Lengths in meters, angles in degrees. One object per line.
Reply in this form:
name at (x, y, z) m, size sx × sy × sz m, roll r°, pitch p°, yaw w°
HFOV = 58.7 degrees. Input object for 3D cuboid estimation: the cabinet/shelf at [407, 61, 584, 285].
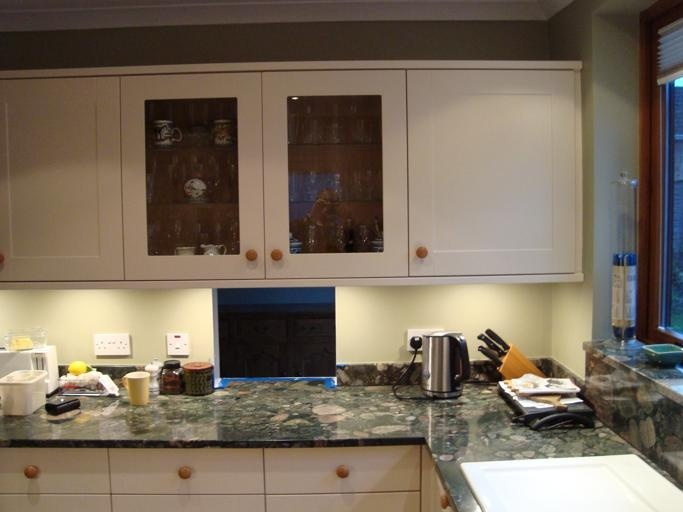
cabinet/shelf at (0.654, -0.406, 2.701) m, size 0.920 × 1.163 × 0.441 m, roll 0°, pitch -1°, yaw 0°

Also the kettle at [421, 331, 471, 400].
kettle at (0.476, 0.510, 2.798) m, size 0.205 × 0.300 × 0.116 m, roll 0°, pitch 15°, yaw 8°

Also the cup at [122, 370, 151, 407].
cup at (-0.929, 0.608, 2.810) m, size 0.116 × 0.133 × 0.140 m, roll -1°, pitch -6°, yaw -3°

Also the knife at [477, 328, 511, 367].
knife at (0.712, 0.432, 2.867) m, size 0.173 × 0.161 × 0.050 m, roll -54°, pitch 7°, yaw -26°

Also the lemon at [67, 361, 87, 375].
lemon at (-1.301, 0.542, 2.986) m, size 0.055 × 0.062 × 0.075 m, roll 7°, pitch 2°, yaw 37°

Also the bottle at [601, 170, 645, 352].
bottle at (1.211, 0.003, 2.598) m, size 0.145 × 0.677 × 0.296 m, roll 5°, pitch 16°, yaw 24°

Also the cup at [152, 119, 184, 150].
cup at (-0.786, -0.549, 2.737) m, size 0.137 × 0.114 × 0.086 m, roll 0°, pitch 3°, yaw -3°
